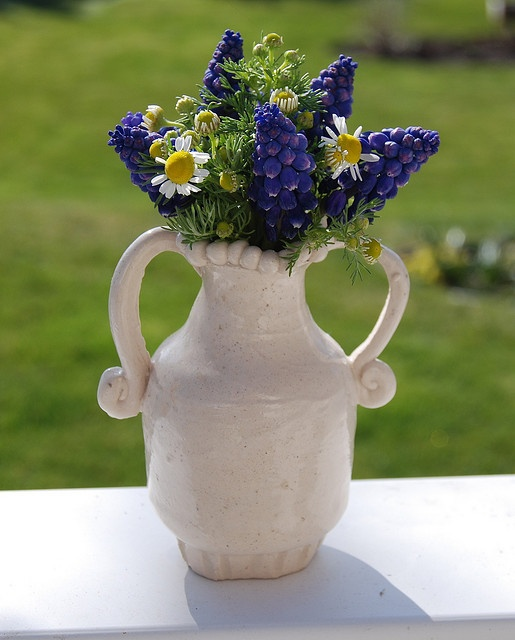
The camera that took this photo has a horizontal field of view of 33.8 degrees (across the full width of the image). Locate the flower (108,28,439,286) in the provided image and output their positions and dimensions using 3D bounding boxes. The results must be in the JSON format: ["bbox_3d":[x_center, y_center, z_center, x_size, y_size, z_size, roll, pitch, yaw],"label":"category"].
[{"bbox_3d":[-0.004,-0.162,0.834,0.254,0.209,0.264,-22,40,-27],"label":"flower"}]
